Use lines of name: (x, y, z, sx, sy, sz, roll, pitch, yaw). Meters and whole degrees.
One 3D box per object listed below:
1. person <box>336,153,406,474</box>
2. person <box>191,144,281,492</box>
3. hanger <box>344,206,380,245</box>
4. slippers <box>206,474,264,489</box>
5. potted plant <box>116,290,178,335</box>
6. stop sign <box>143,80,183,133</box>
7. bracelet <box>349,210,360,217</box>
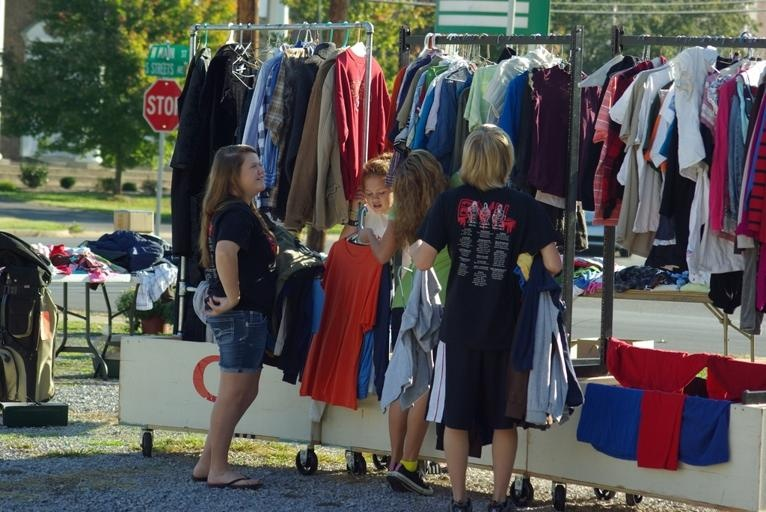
person: (-0.169, 0.148, 14.704, 0.669, 2.308, 0.766, 0, -1, 6)
person: (-1.512, 0.614, 14.426, 0.784, 3.489, 0.520, 2, 7, -7)
hanger: (-0.164, -0.331, 14.804, 0.413, 0.447, 0.303, 0, -16, 10)
slippers: (-1.522, 2.281, 14.392, 0.482, 0.136, 0.202, -1, 1, -2)
potted plant: (-3.069, 0.723, 18.505, 0.426, 0.706, 0.921, -1, -4, 10)
stop sign: (-3.047, -2.083, 19.379, 0.477, 0.746, 0.696, 2, 8, -10)
bracelet: (-0.316, -0.480, 15.232, 0.075, 0.060, 0.074, -2, 4, -44)
